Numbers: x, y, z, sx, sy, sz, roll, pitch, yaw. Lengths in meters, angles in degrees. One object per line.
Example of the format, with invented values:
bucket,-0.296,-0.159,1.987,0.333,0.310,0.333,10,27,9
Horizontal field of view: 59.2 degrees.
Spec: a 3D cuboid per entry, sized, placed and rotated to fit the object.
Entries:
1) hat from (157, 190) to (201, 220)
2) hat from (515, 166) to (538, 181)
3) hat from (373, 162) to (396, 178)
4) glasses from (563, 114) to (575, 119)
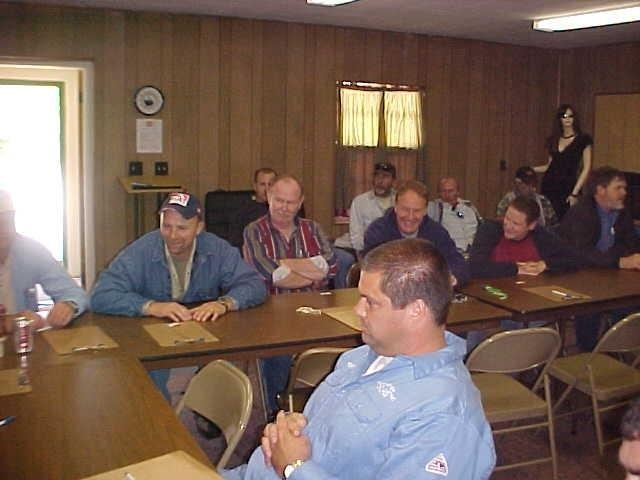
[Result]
hat,-0.768,-0.195,3.244,0.138,0.099,0.195,10,0,14
hat,2.327,-0.744,6.375,0.249,0.138,0.187,4,14,38
hat,0.722,-0.764,5.951,0.173,0.123,0.244,4,-11,38
glasses,3.064,-1.535,6.941,0.107,0.042,0.054,0,9,23
